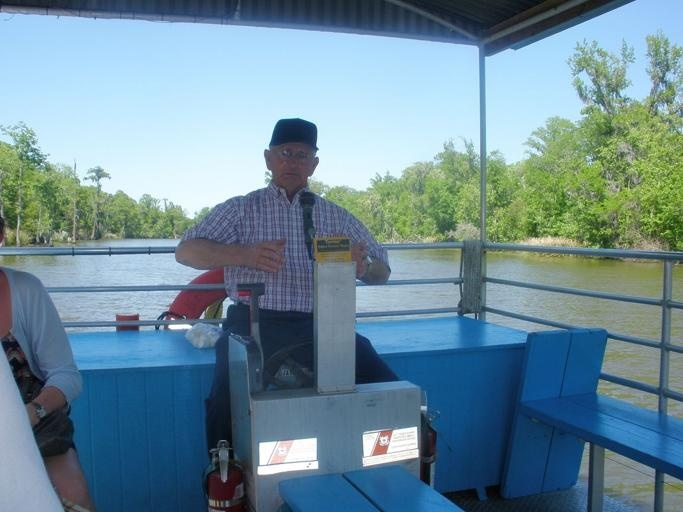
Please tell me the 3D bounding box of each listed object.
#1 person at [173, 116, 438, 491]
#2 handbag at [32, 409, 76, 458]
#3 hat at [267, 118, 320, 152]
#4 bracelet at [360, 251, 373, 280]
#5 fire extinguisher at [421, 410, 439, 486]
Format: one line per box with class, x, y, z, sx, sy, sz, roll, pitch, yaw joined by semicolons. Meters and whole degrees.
person;-0.215;0.038;2.667;0.934;1.419;0.801;-5;5;-35
handbag;-0.942;0.585;1.937;0.056;0.161;0.168;-1;4;15
hat;-0.230;-0.585;2.851;0.161;0.111;0.170;3;5;-1
bracelet;0.114;0.043;2.651;0.036;0.108;0.074;9;20;-2
fire extinguisher;0.341;0.741;2.305;0.060;0.359;0.245;-1;4;8
